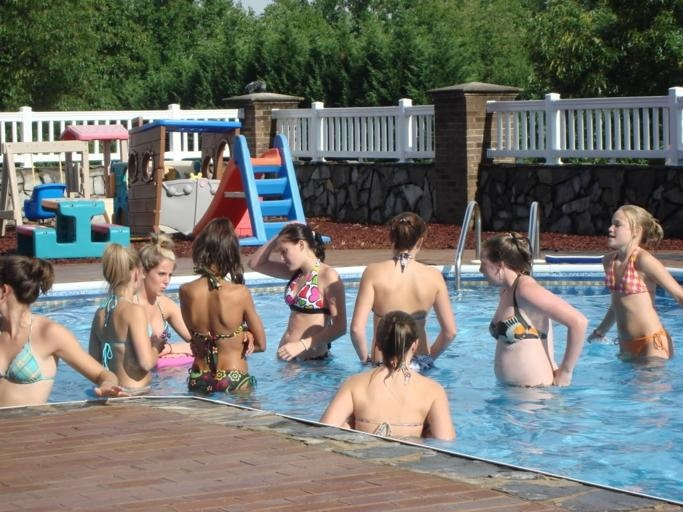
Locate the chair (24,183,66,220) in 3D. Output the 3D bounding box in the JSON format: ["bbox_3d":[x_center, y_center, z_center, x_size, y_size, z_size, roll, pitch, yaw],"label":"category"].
[{"bbox_3d":[-4.659,-0.857,15.907,0.578,0.685,0.571,-2,5,-42],"label":"chair"}]

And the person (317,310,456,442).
[{"bbox_3d":[0.323,0.816,6.689,0.885,0.841,0.235,4,8,3],"label":"person"}]

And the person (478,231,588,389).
[{"bbox_3d":[1.508,0.504,8.055,0.859,1.311,0.572,6,9,21],"label":"person"}]

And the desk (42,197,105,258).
[{"bbox_3d":[-3.658,-0.365,13.717,0.673,0.530,0.998,0,1,-19],"label":"desk"}]
